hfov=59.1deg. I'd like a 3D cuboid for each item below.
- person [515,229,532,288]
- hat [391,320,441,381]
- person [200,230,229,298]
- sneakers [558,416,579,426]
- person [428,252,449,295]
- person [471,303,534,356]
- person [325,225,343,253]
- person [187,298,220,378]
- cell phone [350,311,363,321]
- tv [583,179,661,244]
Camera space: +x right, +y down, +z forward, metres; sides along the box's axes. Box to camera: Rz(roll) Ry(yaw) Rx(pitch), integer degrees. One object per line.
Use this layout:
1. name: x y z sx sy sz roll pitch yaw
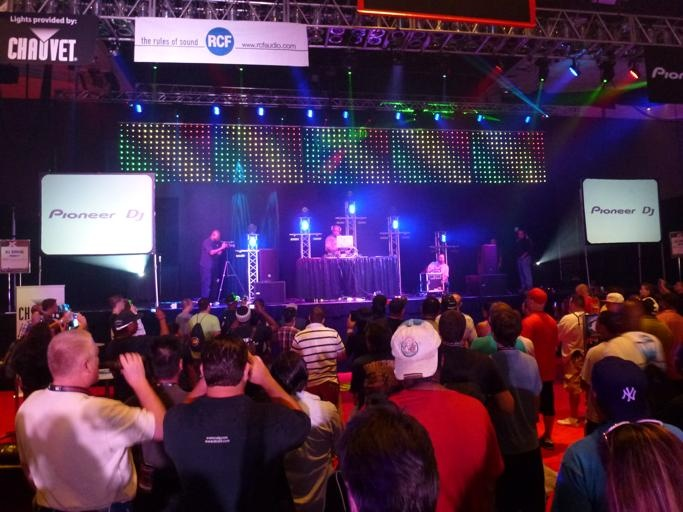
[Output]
1. person: 4.499 0.102 14.860 0.343 1.515 0.408 -2 -5 15
2. hat: 0.569 0.733 4.858 0.409 0.284 0.624 -4 17 8
3. person: -2.923 0.137 13.786 0.662 1.652 1.145 0 -5 -12
4. sneakers: 2.991 2.198 7.986 0.195 0.094 0.117 1 -5 19
5. person: 2.399 0.484 15.105 0.636 0.824 0.619 3 -5 -30
6. person: 1.752 0.816 6.540 0.656 0.771 0.377 -4 18 2
7. person: -0.234 -0.402 14.453 0.325 0.847 0.910 -1 -5 0
8. person: -2.029 1.222 8.647 0.426 1.387 0.484 12 27 1
9. cell phone: 0.195 0.801 8.013 0.154 0.176 0.128 4 16 26
10. tv: 5.474 -0.882 11.807 1.749 1.281 0.148 0 -5 -17
